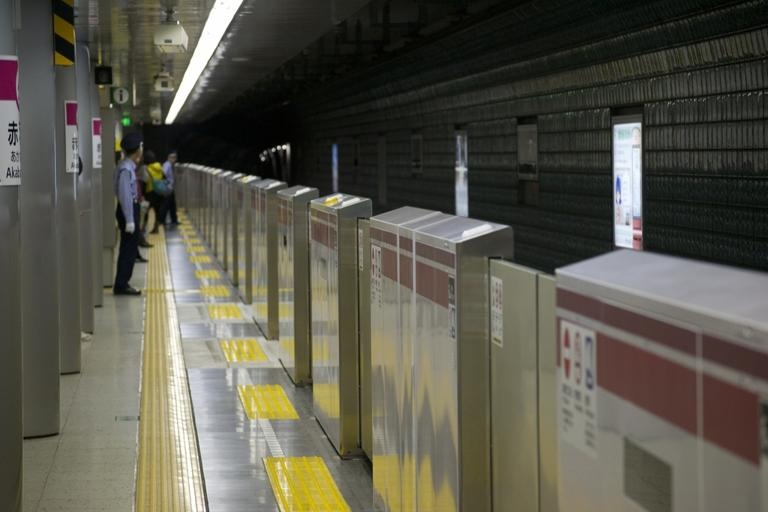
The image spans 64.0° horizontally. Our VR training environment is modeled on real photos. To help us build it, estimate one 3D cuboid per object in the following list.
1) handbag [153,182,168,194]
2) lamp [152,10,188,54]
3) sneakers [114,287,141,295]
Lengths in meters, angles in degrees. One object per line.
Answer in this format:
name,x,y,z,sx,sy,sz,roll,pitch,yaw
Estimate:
handbag,-5.872,-1.825,16.243,0.304,0.380,0.240,-4,8,-25
lamp,-3.086,-3.276,8.957,0.347,0.515,0.477,-1,5,-9
sneakers,-4.470,0.624,10.772,0.403,0.189,0.182,-1,3,-7
